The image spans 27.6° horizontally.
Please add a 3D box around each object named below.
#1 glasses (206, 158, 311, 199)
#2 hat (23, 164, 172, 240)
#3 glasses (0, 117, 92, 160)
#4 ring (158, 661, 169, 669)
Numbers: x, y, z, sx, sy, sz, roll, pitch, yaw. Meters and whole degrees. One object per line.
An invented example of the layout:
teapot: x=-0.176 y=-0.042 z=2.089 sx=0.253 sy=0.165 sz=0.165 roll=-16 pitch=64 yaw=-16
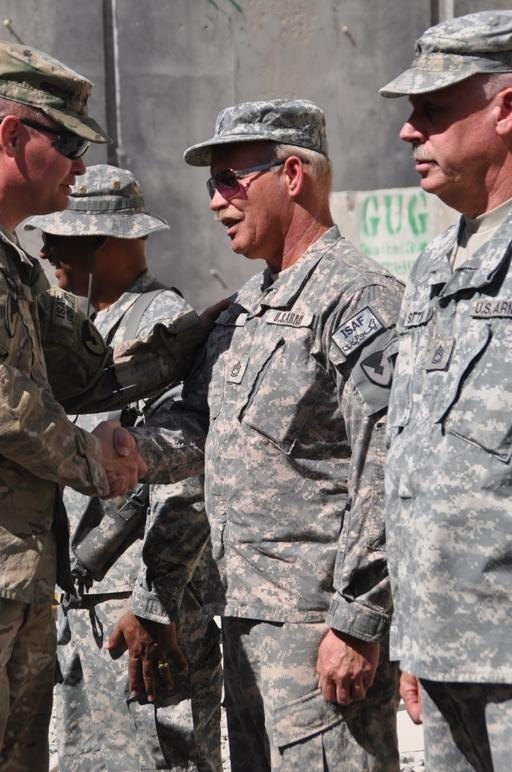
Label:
glasses: x=-0.029 y=-0.635 z=3.203 sx=0.194 sy=0.058 sz=0.148 roll=-21 pitch=1 yaw=2
hat: x=-0.598 y=-0.722 z=4.100 sx=0.586 sy=0.285 sz=0.582 roll=-3 pitch=8 yaw=-7
glasses: x=-0.577 y=-0.706 z=2.993 sx=0.155 sy=0.051 sz=0.114 roll=29 pitch=-5 yaw=-15
ring: x=-0.310 y=0.944 z=3.526 sx=0.025 sy=0.009 sz=0.024 roll=1 pitch=-2 yaw=0
